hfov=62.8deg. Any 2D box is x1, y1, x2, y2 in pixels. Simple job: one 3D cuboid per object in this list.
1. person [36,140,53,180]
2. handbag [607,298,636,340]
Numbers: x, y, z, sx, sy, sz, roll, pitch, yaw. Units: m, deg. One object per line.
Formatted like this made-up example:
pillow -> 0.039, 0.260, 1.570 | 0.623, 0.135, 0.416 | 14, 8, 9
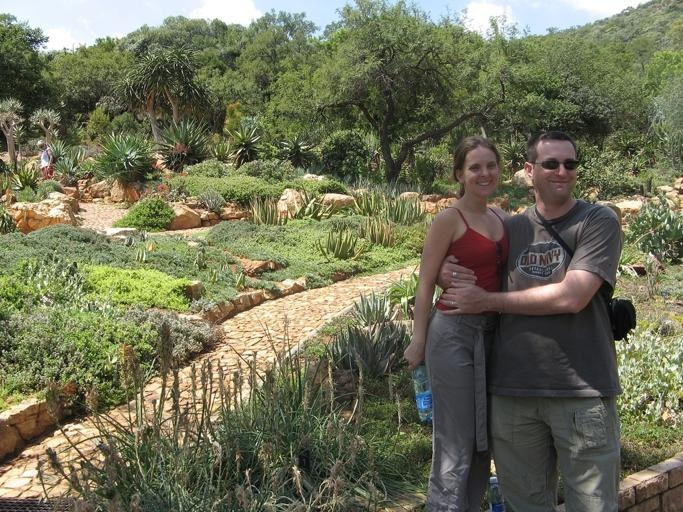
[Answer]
person -> -10.416, -3.362, 19.714 | 0.421, 1.488, 2.703 | -8, 6, -27
handbag -> 1.854, 0.403, 3.705 | 0.183, 0.241, 0.260 | -1, -4, 6
